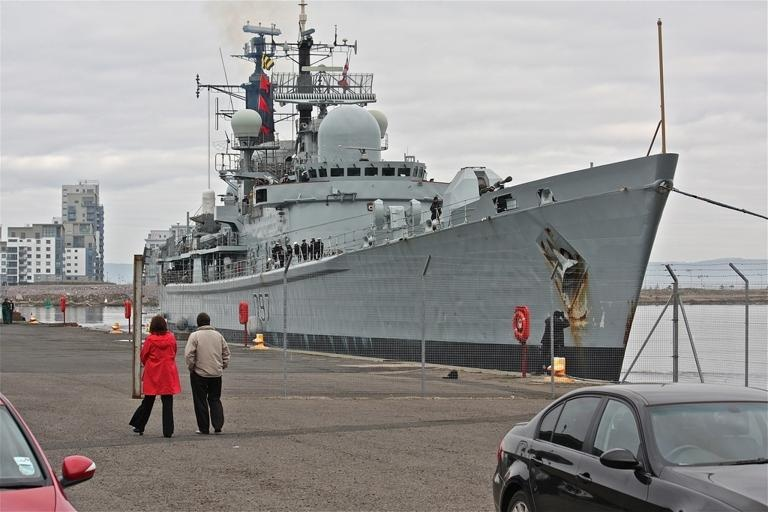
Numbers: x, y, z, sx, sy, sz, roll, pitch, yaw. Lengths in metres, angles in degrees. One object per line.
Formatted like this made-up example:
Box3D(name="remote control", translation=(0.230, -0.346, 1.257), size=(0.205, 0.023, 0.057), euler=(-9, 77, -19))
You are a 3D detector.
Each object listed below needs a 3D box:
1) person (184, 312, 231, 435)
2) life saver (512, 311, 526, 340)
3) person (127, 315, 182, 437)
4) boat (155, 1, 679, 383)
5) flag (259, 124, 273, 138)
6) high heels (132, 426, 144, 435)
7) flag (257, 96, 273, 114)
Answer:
Box3D(name="person", translation=(-2.958, 1.932, 14.068), size=(0.657, 1.963, 0.633), euler=(0, -2, -11))
Box3D(name="life saver", translation=(3.470, 1.785, 21.833), size=(0.253, 0.741, 0.958), euler=(0, -2, -10))
Box3D(name="person", translation=(-3.761, 1.944, 13.825), size=(0.747, 1.936, 0.641), euler=(0, -2, -15))
Box3D(name="boat", translation=(0.911, -1.491, 35.169), size=(7.908, 11.981, 31.151), euler=(-2, 1, -24))
Box3D(name="flag", translation=(-6.208, -6.611, 44.521), size=(0.512, 0.683, 0.195), euler=(2, 13, -19))
Box3D(name="high heels", translation=(-3.960, 2.797, 13.562), size=(0.064, 0.130, 0.121), euler=(-18, 19, -30))
Box3D(name="flag", translation=(-6.247, -7.927, 43.803), size=(0.238, 0.752, 0.787), euler=(5, 7, 14))
